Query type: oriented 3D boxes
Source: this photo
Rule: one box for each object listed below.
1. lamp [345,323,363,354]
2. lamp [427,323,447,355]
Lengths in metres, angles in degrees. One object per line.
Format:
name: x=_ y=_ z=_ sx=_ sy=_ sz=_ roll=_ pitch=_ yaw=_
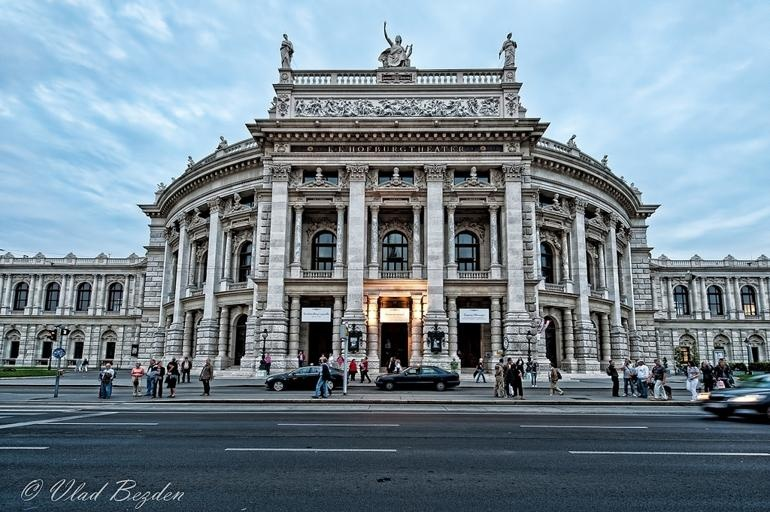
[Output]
lamp: x=-2.080 y=5.885 z=46.221 sx=0.985 sy=1.974 sz=0.610 roll=-1 pitch=-18 yaw=4
lamp: x=3.655 y=5.865 z=45.878 sx=1.276 sy=2.044 sz=0.663 roll=-3 pitch=-18 yaw=11
